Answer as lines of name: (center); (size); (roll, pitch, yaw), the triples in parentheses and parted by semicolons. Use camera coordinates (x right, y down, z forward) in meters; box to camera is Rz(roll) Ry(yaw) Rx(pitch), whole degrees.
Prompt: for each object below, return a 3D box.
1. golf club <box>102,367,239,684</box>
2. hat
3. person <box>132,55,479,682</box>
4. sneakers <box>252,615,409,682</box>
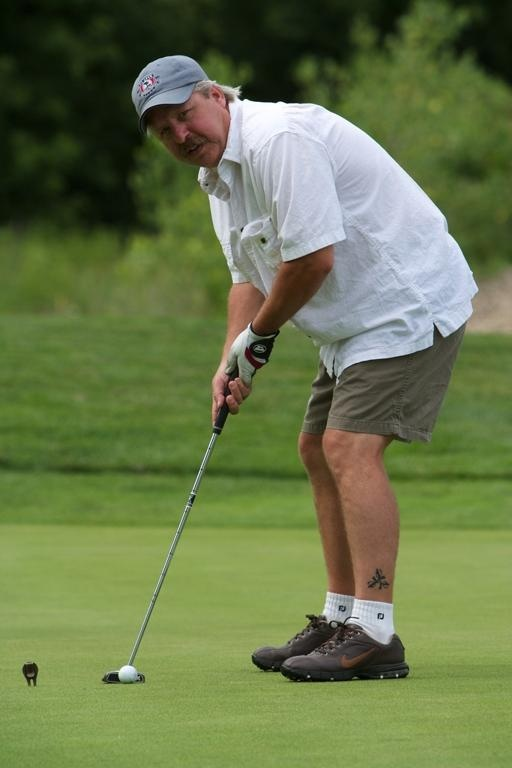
golf club: (-0.143, 0.301, 2.341); (0.098, 0.829, 0.151); (13, -17, 30)
hat: (-0.193, -0.662, 2.204); (0.140, 0.097, 0.197); (-23, 9, 36)
person: (0.135, -0.053, 2.280); (0.839, 1.365, 0.609); (12, 10, 36)
sneakers: (0.172, 0.571, 2.123); (0.233, 0.069, 0.163); (2, -7, -10)
